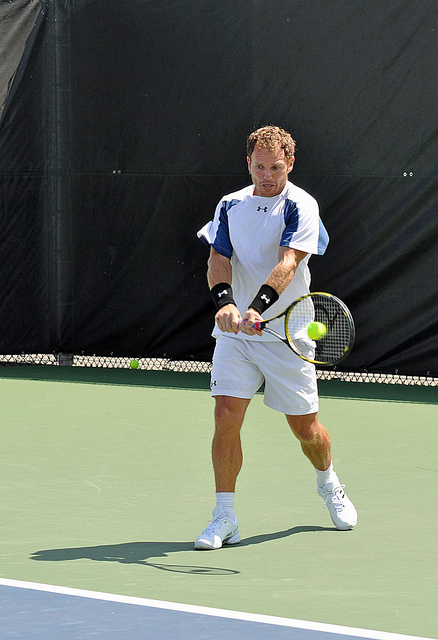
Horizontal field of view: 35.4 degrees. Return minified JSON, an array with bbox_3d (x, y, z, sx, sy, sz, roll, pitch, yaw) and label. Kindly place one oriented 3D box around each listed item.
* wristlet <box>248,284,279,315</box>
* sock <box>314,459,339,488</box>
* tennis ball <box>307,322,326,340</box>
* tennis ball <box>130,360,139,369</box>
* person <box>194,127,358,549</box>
[{"bbox_3d":[0.151,-0.073,2.377,0.110,0.101,0.045,-1,1,-38],"label":"wristlet"},{"bbox_3d":[0.426,0.626,2.750,0.080,0.092,0.129,0,1,10],"label":"sock"},{"bbox_3d":[0.335,0.040,2.380,0.057,0.060,0.070,0,1,4],"label":"tennis ball"},{"bbox_3d":[-0.873,0.463,7.088,0.080,0.090,0.081,3,22,-1],"label":"tennis ball"},{"bbox_3d":[0.215,0.046,2.582,0.597,1.535,0.585,0,1,0],"label":"person"}]
